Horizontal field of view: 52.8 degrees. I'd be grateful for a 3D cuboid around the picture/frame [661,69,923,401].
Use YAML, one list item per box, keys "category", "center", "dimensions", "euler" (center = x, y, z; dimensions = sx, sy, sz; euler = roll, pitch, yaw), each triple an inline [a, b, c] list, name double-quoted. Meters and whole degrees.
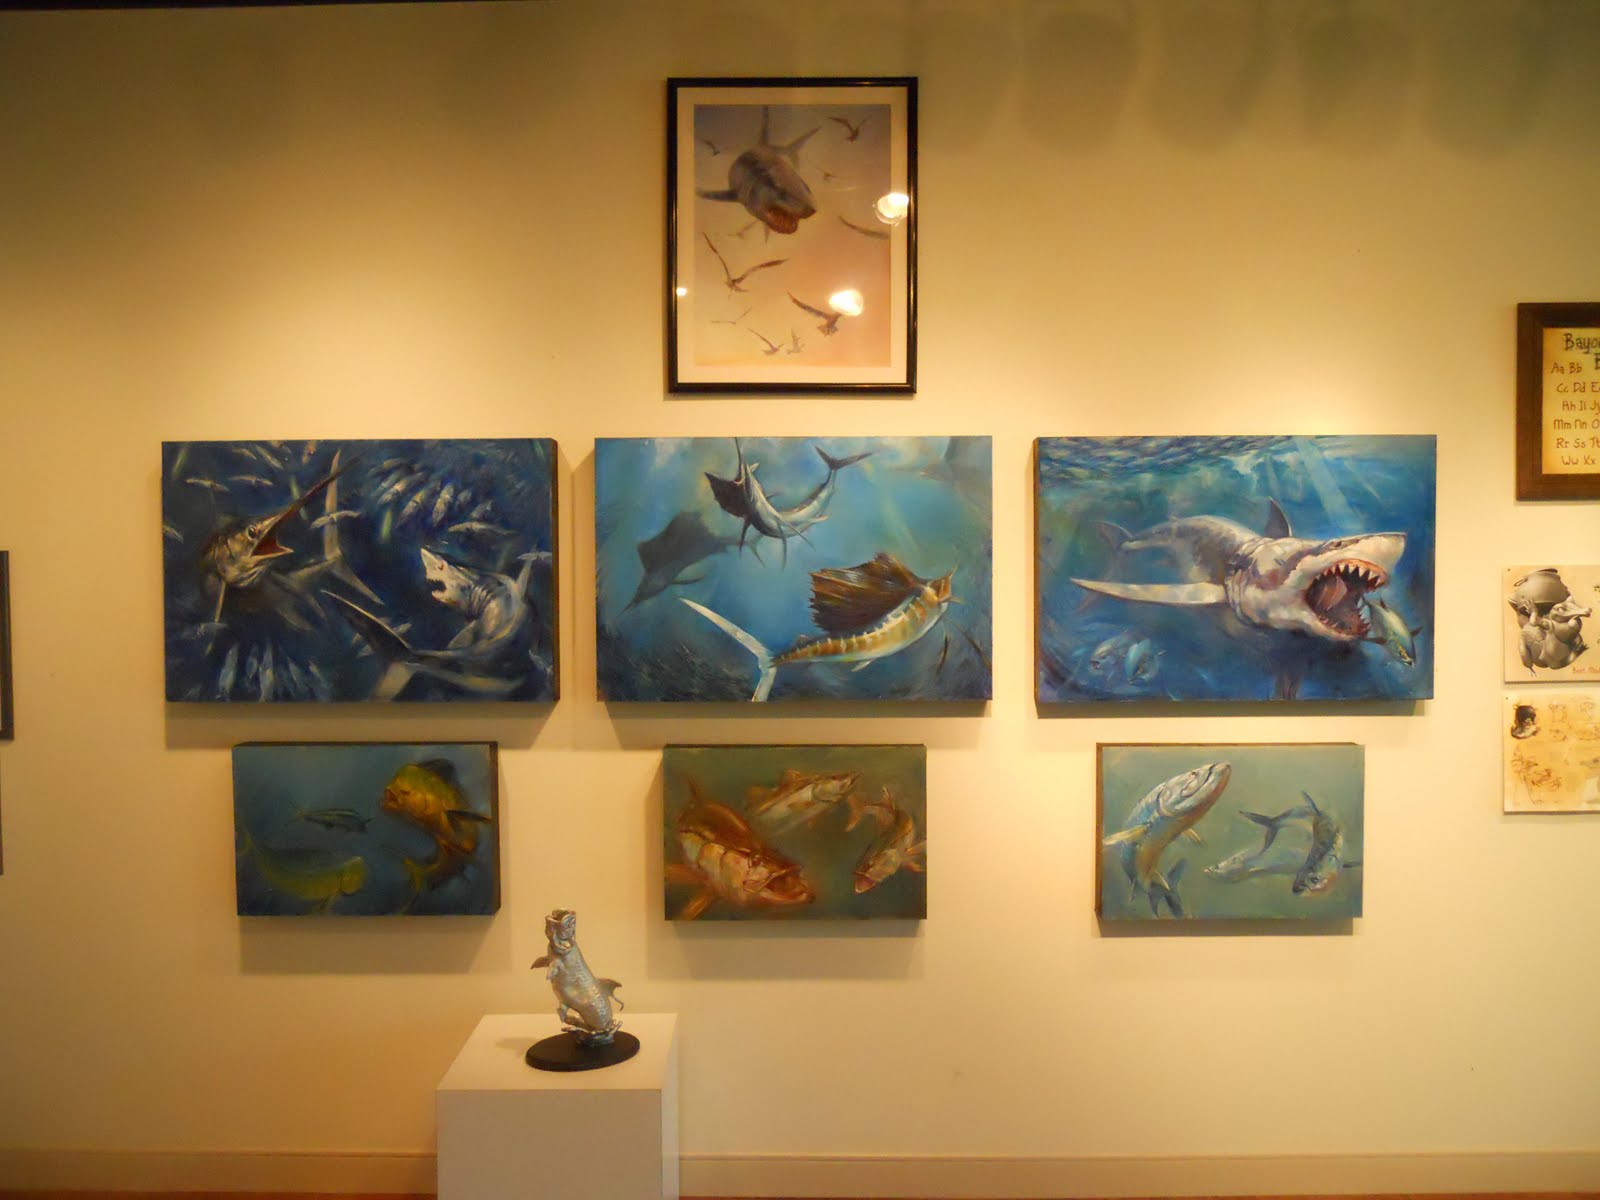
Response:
- category: "picture/frame"
  center: [-0.022, -1.054, 4.663]
  dimensions: [0.740, 0.973, 0.032]
  euler: [-1, 32, -2]
